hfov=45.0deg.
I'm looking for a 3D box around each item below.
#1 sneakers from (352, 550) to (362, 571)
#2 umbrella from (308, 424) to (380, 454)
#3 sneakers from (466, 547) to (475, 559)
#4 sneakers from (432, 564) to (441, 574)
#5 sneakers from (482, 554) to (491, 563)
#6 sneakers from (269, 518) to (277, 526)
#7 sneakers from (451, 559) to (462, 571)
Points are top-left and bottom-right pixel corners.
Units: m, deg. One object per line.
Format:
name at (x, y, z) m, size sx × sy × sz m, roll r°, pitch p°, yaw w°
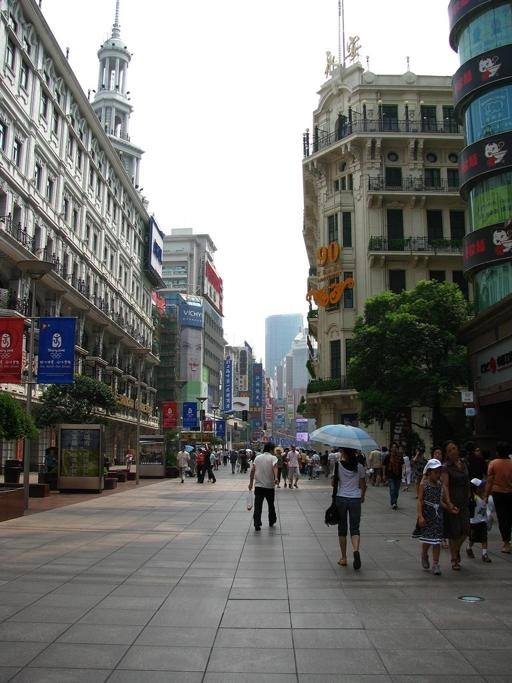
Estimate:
sneakers at (1.328, 2.897, 8.086) m, size 0.088 × 0.294 × 0.109 m, roll -2°, pitch 8°, yaw 0°
umbrella at (1.757, 1.715, 10.566) m, size 1.034 × 0.410 × 1.073 m, roll 11°, pitch -10°, yaw -21°
sneakers at (3.281, 3.259, 9.459) m, size 0.075 × 0.086 × 0.212 m, roll -4°, pitch 12°, yaw 4°
sneakers at (2.281, 2.902, 7.840) m, size 0.098 × 0.127 × 0.238 m, roll -4°, pitch -10°, yaw 15°
sneakers at (3.322, 3.137, 8.912) m, size 0.063 × 0.084 × 0.179 m, roll 1°, pitch 2°, yaw 4°
sneakers at (0.339, 3.847, 13.099) m, size 0.205 × 0.221 × 0.123 m, roll 3°, pitch -15°, yaw -21°
sneakers at (2.671, 3.009, 8.293) m, size 0.090 × 0.080 × 0.276 m, roll -1°, pitch -9°, yaw 0°
